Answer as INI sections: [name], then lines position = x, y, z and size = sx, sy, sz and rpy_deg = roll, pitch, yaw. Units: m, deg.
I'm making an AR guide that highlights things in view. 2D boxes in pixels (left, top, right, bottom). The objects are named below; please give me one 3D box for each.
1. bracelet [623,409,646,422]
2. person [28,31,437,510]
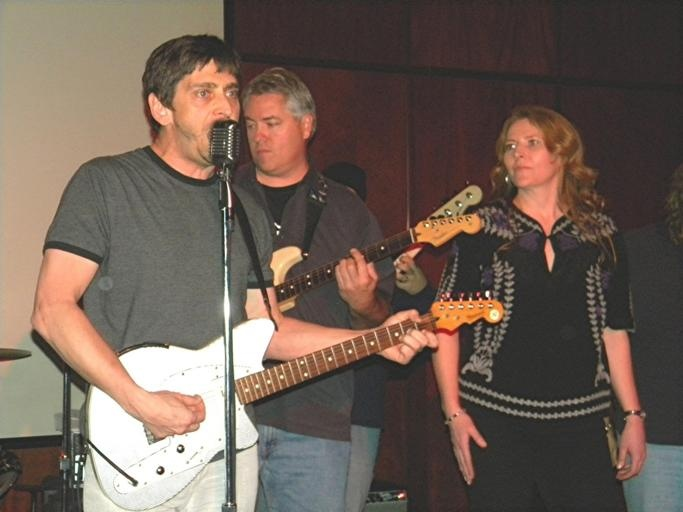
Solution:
[bracelet]
position = 1.548, 0.846, 4.924
size = 0.076, 0.040, 0.074
rpy_deg = 11, -16, -43
[person]
position = -0.742, 0.093, 4.344
size = 1.331, 2.246, 0.451
rpy_deg = -4, -2, -14
